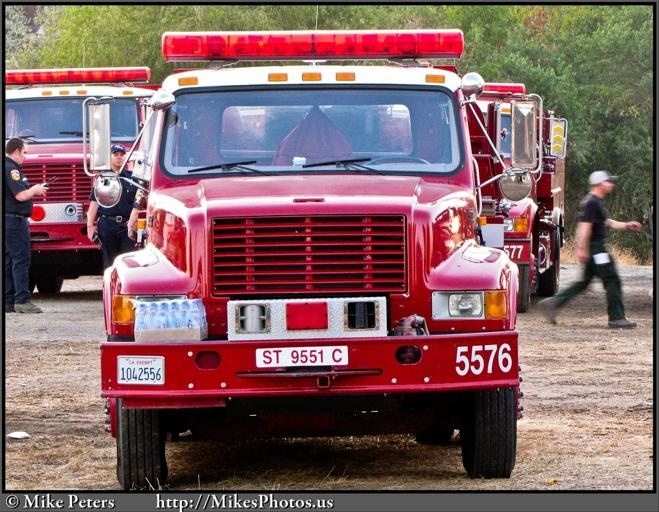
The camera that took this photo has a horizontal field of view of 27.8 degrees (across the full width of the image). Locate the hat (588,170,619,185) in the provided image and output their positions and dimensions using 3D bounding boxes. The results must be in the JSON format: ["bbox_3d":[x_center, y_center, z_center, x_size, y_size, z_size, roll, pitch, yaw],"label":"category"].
[{"bbox_3d":[3.429,-0.987,16.524,0.323,0.168,0.228,-4,10,0],"label":"hat"}]

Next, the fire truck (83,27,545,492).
[{"bbox_3d":[-0.179,-0.121,13.750,3.894,3.970,7.154,-1,1,3],"label":"fire truck"}]

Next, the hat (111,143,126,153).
[{"bbox_3d":[-2.722,-1.386,17.117,0.264,0.131,0.409,0,0,-9],"label":"hat"}]

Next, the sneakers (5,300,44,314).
[{"bbox_3d":[-4.355,0.691,18.918,0.583,0.262,0.209,-1,-3,2],"label":"sneakers"}]

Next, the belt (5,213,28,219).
[{"bbox_3d":[-4.229,-0.569,18.007,0.063,0.084,0.343,3,6,43],"label":"belt"}]

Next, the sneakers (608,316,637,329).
[{"bbox_3d":[3.900,0.864,17.758,0.421,0.179,0.141,-2,2,8],"label":"sneakers"}]

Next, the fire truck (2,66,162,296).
[{"bbox_3d":[-3.938,-1.417,21.209,2.188,2.536,4.208,-1,1,3],"label":"fire truck"}]
